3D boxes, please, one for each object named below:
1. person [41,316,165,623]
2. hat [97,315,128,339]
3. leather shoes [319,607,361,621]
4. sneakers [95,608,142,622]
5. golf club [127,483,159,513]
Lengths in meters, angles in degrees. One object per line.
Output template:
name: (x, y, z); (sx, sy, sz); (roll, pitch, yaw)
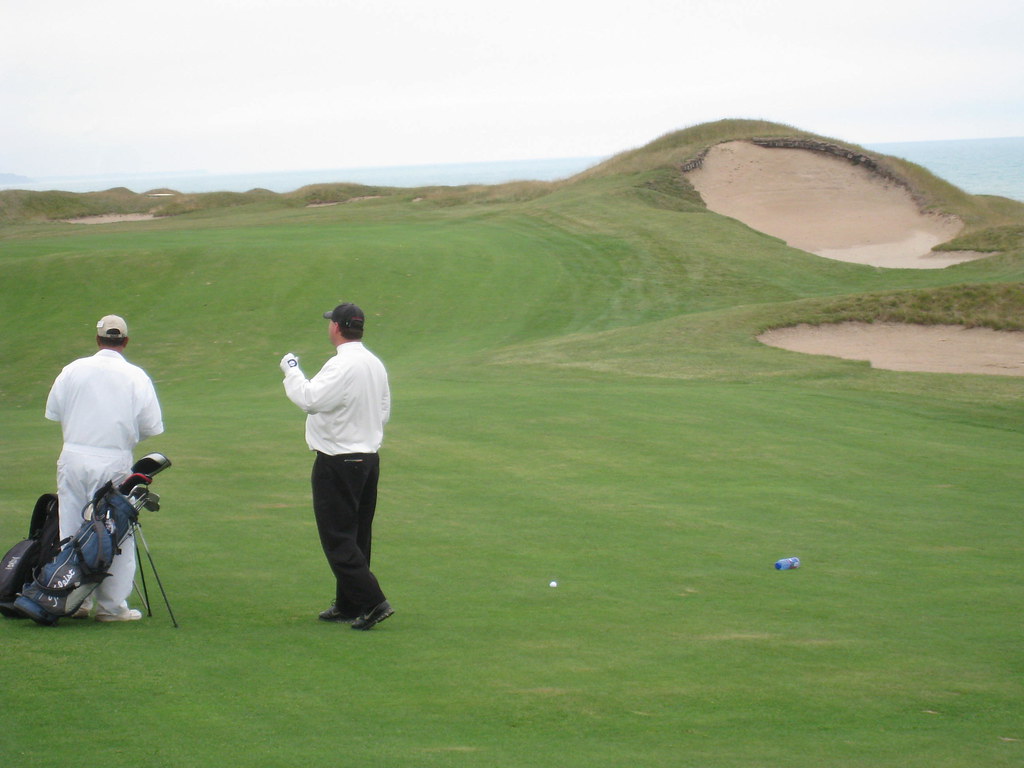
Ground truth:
person: (-3.883, 0.776, 13.267); (1.057, 2.835, 1.016); (-3, 13, -15)
hat: (-3.899, -0.563, 13.541); (0.393, 0.226, 0.523); (-1, 8, -21)
leather shoes: (-1.676, 2.206, 13.315); (0.446, 0.134, 0.125); (6, -5, 0)
sneakers: (-3.740, 2.179, 13.163); (0.458, 0.126, 0.143); (1, 0, -5)
golf club: (-3.479, 1.051, 13.172); (0.240, 0.270, 0.348); (2, 10, 8)
